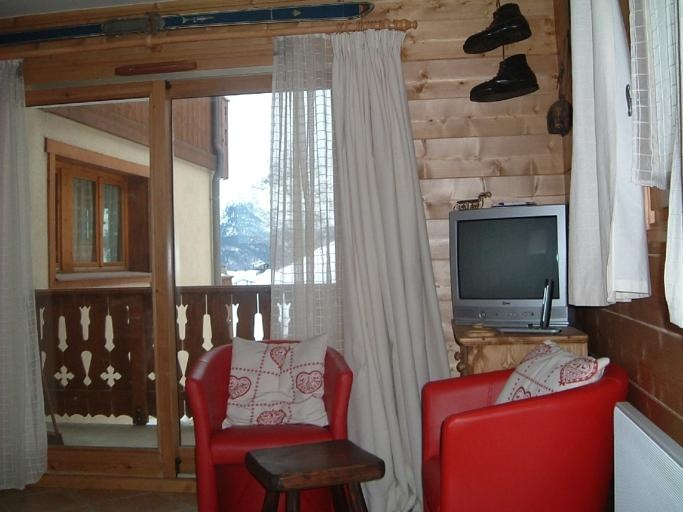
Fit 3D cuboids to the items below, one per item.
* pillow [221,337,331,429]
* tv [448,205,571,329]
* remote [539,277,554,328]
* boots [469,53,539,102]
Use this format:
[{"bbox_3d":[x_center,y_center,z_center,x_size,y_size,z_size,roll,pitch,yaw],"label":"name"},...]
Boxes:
[{"bbox_3d":[-0.383,0.729,3.607,0.535,0.506,0.246,2,10,-2],"label":"pillow"},{"bbox_3d":[1.037,0.028,3.879,0.706,0.745,0.435,-2,9,16],"label":"tv"},{"bbox_3d":[1.147,0.269,3.568,0.051,0.279,0.062,4,-5,14],"label":"remote"},{"bbox_3d":[0.966,-1.068,3.829,0.519,0.328,0.200,-1,-5,13],"label":"boots"}]
